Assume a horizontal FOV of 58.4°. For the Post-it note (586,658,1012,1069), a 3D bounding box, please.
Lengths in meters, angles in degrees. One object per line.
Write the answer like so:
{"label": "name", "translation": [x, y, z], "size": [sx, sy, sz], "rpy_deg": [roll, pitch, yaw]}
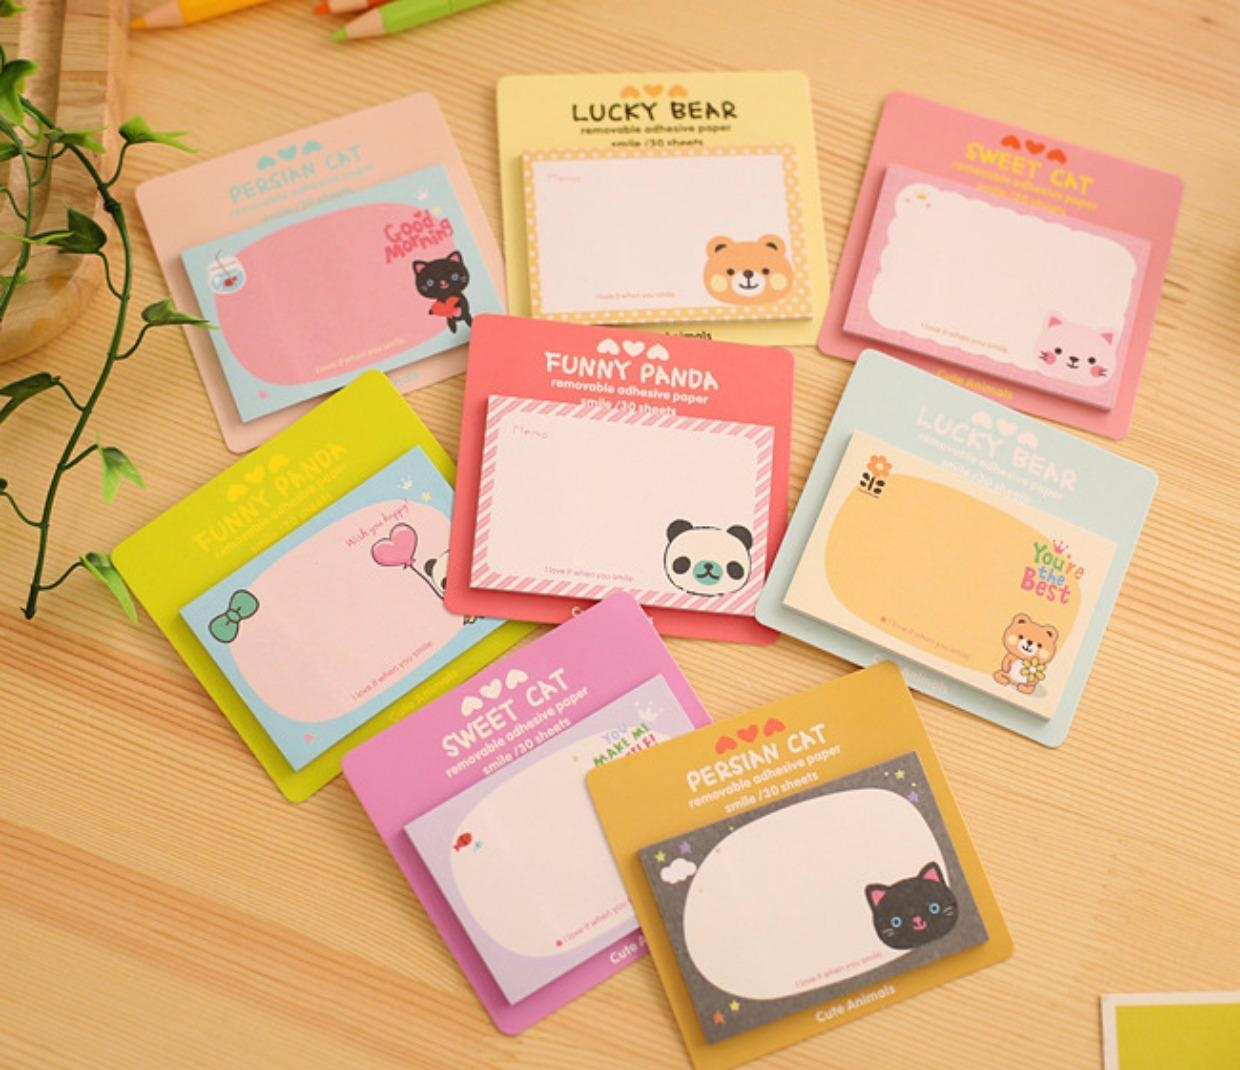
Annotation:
{"label": "Post-it note", "translation": [0.147, 0.271, 0.917], "size": [0.278, 0.167, 0.254], "rpy_deg": [-16, 55, -6]}
